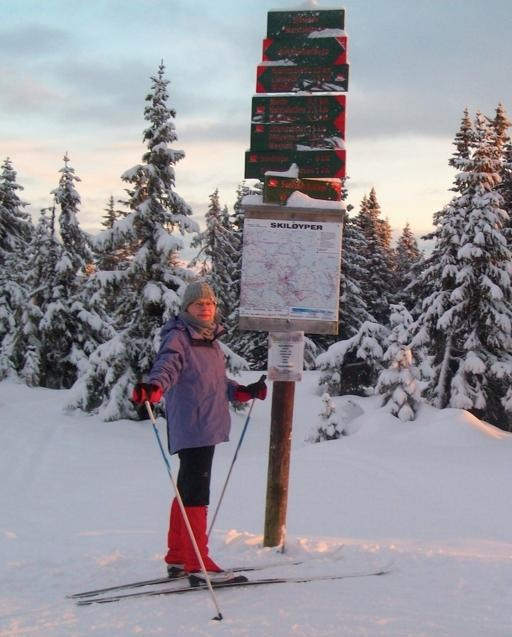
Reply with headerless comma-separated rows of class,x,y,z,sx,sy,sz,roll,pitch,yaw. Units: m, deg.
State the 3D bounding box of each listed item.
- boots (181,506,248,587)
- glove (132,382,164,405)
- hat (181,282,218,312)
boots,-0.456,2.286,9.490,0.631,0.831,0.596,2,3,-2
glove,-1.057,0.741,9.039,0.213,0.235,0.130,2,-8,-5
hat,-0.638,-0.228,9.911,0.357,0.240,0.352,-1,-2,36
